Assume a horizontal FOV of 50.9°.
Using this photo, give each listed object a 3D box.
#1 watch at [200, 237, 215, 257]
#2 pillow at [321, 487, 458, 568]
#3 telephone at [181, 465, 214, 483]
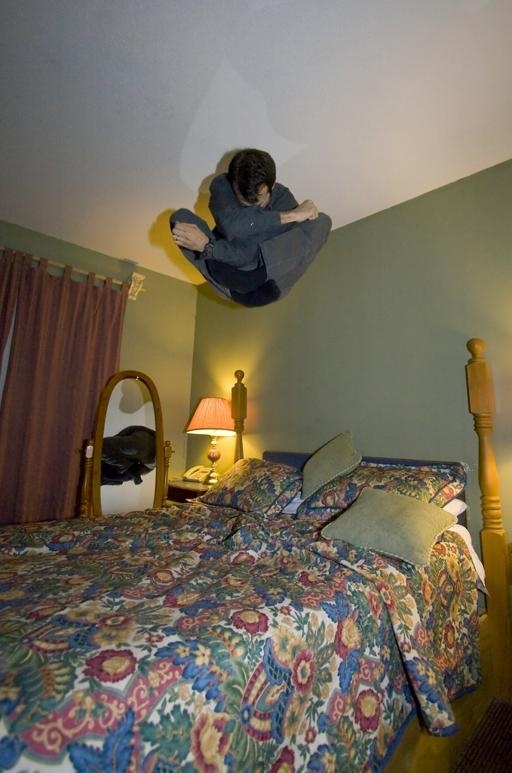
[{"bbox_3d":[-0.140,-0.414,1.610,0.016,0.047,0.047,-5,-44,-37],"label":"watch"},{"bbox_3d":[0.444,0.474,1.820,0.255,0.082,0.268,5,22,39],"label":"pillow"},{"bbox_3d":[-0.406,0.624,3.841,0.150,0.054,0.152,-1,6,38],"label":"telephone"}]
